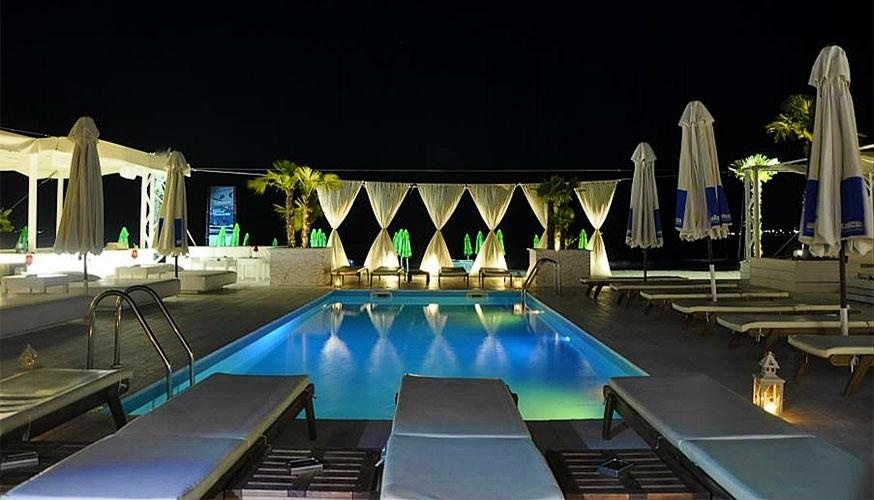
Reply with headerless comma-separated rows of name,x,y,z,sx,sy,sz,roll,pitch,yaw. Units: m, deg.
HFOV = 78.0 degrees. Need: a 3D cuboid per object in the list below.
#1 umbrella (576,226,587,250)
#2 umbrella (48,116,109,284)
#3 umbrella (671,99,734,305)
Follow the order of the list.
umbrella,4.696,-0.378,17.511,0.305,0.578,1.449,-2,2,15
umbrella,-6.405,-1.154,9.664,0.719,2.409,0.353,-5,3,-35
umbrella,4.766,-1.198,9.778,0.851,3.001,0.357,-2,3,23
